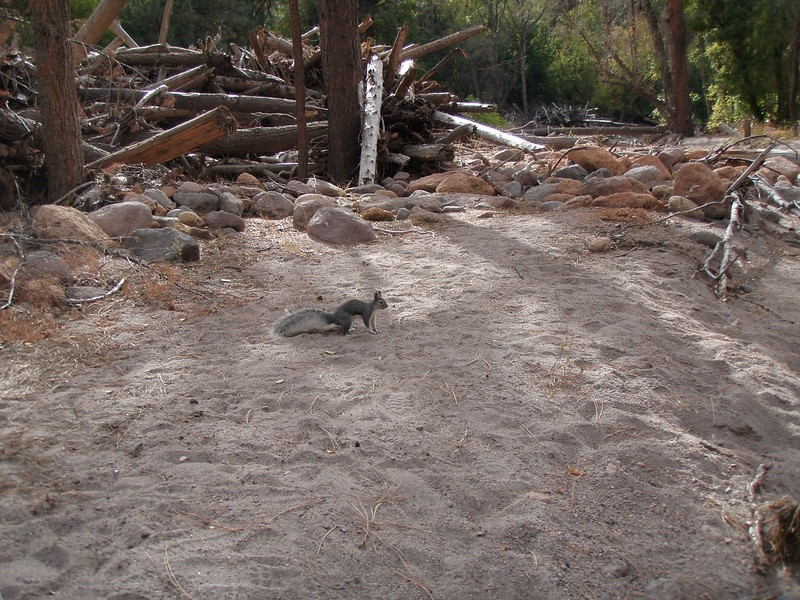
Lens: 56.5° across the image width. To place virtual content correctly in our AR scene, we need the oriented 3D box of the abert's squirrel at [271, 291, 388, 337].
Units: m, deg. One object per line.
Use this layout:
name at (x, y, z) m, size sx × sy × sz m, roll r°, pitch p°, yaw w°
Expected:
abert's squirrel at (-0.710, 0.121, 7.351) m, size 1.087 × 0.447 × 0.318 m, roll 0°, pitch 17°, yaw -7°
